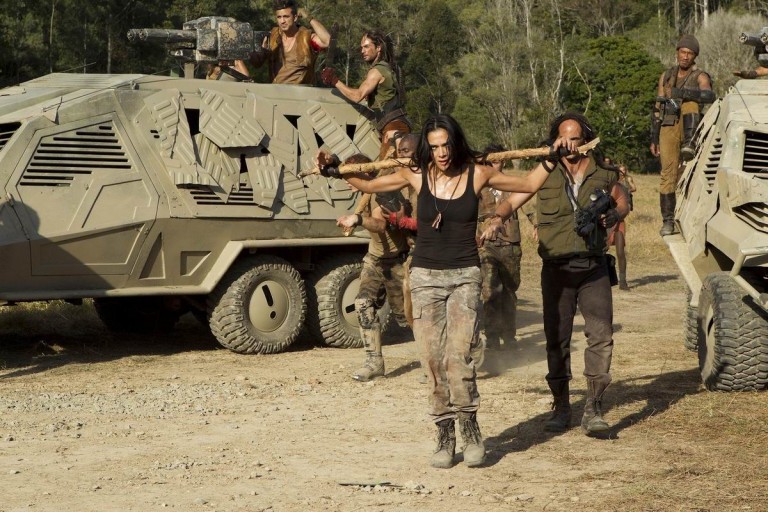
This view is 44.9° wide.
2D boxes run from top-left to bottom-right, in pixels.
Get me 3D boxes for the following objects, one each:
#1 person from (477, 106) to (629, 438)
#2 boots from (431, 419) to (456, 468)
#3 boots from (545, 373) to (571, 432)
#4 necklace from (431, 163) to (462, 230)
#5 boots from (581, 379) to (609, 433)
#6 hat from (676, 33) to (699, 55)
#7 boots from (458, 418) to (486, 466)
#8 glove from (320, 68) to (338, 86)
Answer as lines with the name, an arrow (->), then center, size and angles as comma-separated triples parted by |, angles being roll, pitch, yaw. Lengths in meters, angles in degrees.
person -> 1.688, 0.149, 9.146 | 1.194, 3.213, 1.173 | -1, -2, 19
boots -> 0.541, 1.709, 8.574 | 0.175, 0.389, 0.524 | -2, 12, 15
boots -> 1.704, 1.516, 9.292 | 0.185, 0.494, 0.460 | -3, 7, 34
necklace -> 0.489, -0.604, 8.489 | 0.154, 0.709, 0.052 | 6, -12, 13
boots -> 2.028, 1.495, 9.093 | 0.255, 0.556, 0.296 | 2, 8, 12
hat -> 4.438, -3.172, 13.724 | 0.289, 0.291, 0.318 | 18, -6, 12
boots -> 0.771, 1.675, 8.517 | 0.181, 0.428, 0.585 | -12, 10, 8
glove -> -0.763, -2.443, 12.618 | 0.122, 0.226, 0.253 | 1, 27, -20
